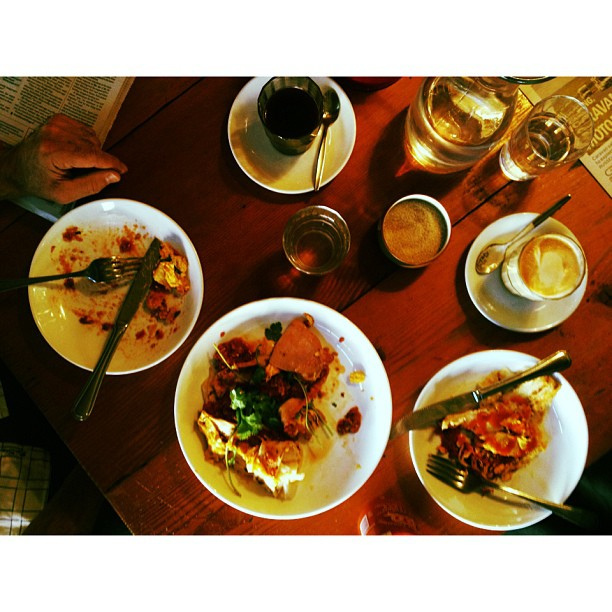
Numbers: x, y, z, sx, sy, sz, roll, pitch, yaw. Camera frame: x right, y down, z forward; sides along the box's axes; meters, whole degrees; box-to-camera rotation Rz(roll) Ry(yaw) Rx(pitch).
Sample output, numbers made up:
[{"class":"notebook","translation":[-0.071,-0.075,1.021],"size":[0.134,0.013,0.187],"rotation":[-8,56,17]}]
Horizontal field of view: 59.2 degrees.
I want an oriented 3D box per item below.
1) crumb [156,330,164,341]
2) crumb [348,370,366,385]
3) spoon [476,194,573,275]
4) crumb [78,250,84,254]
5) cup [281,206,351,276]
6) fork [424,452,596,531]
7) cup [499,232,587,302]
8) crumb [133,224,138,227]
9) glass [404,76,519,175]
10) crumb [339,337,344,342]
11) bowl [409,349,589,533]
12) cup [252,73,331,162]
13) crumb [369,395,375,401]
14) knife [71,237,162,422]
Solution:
[{"class":"crumb","translation":[-0.389,0.077,1.423],"size":[0.018,0.005,0.023],"rotation":[-1,75,14]},{"class":"crumb","translation":[0.133,0.185,1.426],"size":[0.028,0.013,0.042],"rotation":[9,105,12]},{"class":"spoon","translation":[0.576,-0.183,1.428],"size":[0.055,0.037,0.263],"rotation":[44,91,0]},{"class":"crumb","translation":[-0.604,-0.146,1.440],"size":[0.008,0.002,0.009],"rotation":[5,82,-16]},{"class":"cup","translation":[0.018,-0.176,1.511],"size":[0.173,0.203,0.162],"rotation":[0,88,-5]},{"class":"fork","translation":[0.517,0.481,1.410],"size":[0.399,0.051,0.070],"rotation":[24,82,-2]},{"class":"cup","translation":[0.615,-0.095,1.466],"size":[0.156,0.185,0.198],"rotation":[35,94,2]},{"class":"crumb","translation":[-0.459,-0.217,1.442],"size":[0.010,0.005,0.006],"rotation":[3,81,-5]},{"class":"glass","translation":[0.412,-0.478,1.426],"size":[0.112,0.315,0.155],"rotation":[16,98,2]},{"class":"crumb","translation":[0.094,0.088,1.422],"size":[0.011,0.015,0.010],"rotation":[-41,85,-9]},{"class":"bowl","translation":[0.498,0.355,1.399],"size":[0.447,0.124,0.553],"rotation":[-15,112,22]},{"class":"cup","translation":[-0.035,-0.483,1.453],"size":[0.157,0.150,0.234],"rotation":[2,88,-4]},{"class":"crumb","translation":[0.172,0.240,1.401],"size":[0.009,0.008,0.013],"rotation":[1,98,9]},{"class":"knife","translation":[-0.498,0.080,1.411],"size":[0.051,0.025,0.502],"rotation":[22,73,-15]}]
